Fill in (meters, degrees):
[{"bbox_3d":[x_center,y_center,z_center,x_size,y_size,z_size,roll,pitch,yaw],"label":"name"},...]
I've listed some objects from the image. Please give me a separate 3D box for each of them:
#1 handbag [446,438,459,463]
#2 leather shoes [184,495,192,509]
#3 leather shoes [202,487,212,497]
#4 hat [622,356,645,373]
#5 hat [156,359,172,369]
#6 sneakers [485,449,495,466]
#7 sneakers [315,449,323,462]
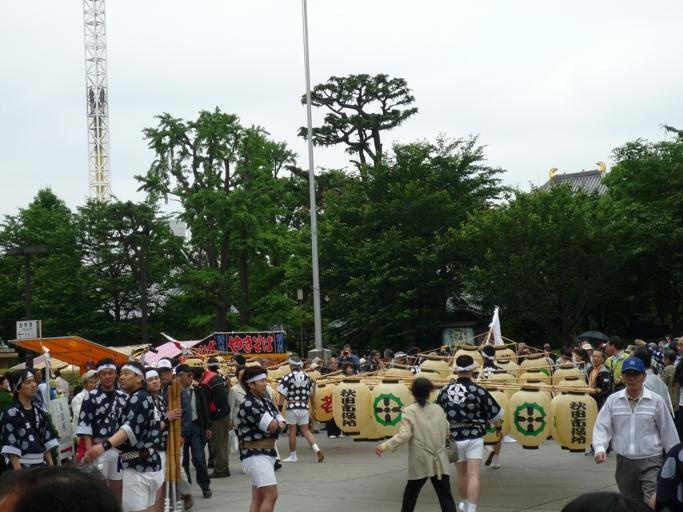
[{"bbox_3d":[1.807,3.154,16.901,0.131,0.403,0.364,-6,-6,18],"label":"handbag"},{"bbox_3d":[-2.675,4.307,18.206,0.167,0.249,0.310,-3,-6,-11],"label":"leather shoes"},{"bbox_3d":[-2.450,4.316,19.007,0.160,0.163,0.262,-3,-6,-8],"label":"leather shoes"},{"bbox_3d":[4.261,1.598,15.200,0.313,0.244,0.214,-4,-6,6],"label":"hat"},{"bbox_3d":[-3.078,1.855,18.040,0.262,0.183,0.354,-2,-6,-11],"label":"hat"},{"bbox_3d":[3.003,4.012,20.637,0.156,0.328,0.218,18,5,13],"label":"sneakers"},{"bbox_3d":[-0.416,3.977,20.731,0.160,0.176,0.432,-11,-27,-11],"label":"sneakers"}]
